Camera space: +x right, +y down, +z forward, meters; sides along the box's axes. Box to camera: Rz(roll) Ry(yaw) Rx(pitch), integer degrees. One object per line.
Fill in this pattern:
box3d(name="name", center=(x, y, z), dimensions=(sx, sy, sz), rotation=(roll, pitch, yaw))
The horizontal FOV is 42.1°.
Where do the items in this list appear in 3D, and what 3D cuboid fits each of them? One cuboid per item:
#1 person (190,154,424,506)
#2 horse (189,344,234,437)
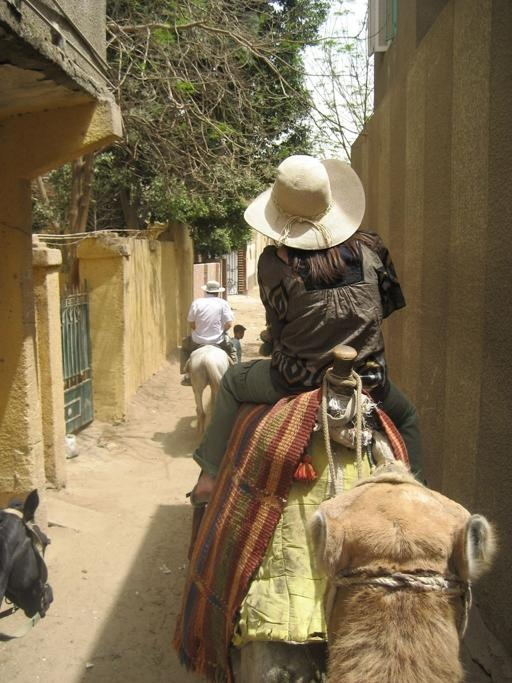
box3d(name="person", center=(0.256, -0.039, 2.571), dimensions=(0.519, 1.304, 0.817), rotation=(-1, 7, -38))
box3d(name="horse", center=(-0.640, 0.557, 8.464), dimensions=(0.523, 1.291, 1.926), rotation=(0, 2, -9))
